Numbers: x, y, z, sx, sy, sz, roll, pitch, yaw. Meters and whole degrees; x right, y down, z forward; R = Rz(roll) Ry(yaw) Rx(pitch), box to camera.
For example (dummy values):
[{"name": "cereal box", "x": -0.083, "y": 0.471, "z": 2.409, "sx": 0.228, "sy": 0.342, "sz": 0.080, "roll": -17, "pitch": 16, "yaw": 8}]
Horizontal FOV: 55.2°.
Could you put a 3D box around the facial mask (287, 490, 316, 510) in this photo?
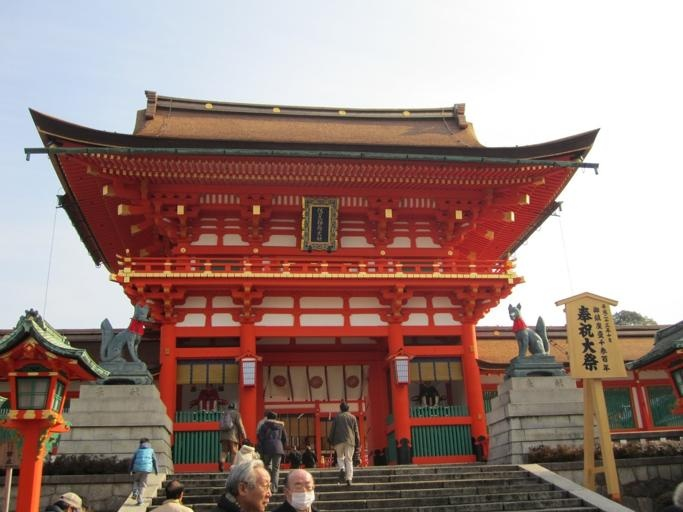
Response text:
[{"name": "facial mask", "x": -0.472, "y": 2.929, "z": 7.844, "sx": 0.306, "sy": 0.178, "sz": 0.251, "roll": 2, "pitch": -18, "yaw": -8}]

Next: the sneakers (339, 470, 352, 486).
[{"name": "sneakers", "x": 0.083, "y": 5.028, "z": 14.701, "sx": 0.192, "sy": 0.351, "sz": 0.148, "roll": 5, "pitch": -20, "yaw": -41}]

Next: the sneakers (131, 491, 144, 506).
[{"name": "sneakers", "x": -4.206, "y": 5.055, "z": 13.550, "sx": 0.131, "sy": 0.334, "sz": 0.138, "roll": 22, "pitch": -73, "yaw": -25}]
